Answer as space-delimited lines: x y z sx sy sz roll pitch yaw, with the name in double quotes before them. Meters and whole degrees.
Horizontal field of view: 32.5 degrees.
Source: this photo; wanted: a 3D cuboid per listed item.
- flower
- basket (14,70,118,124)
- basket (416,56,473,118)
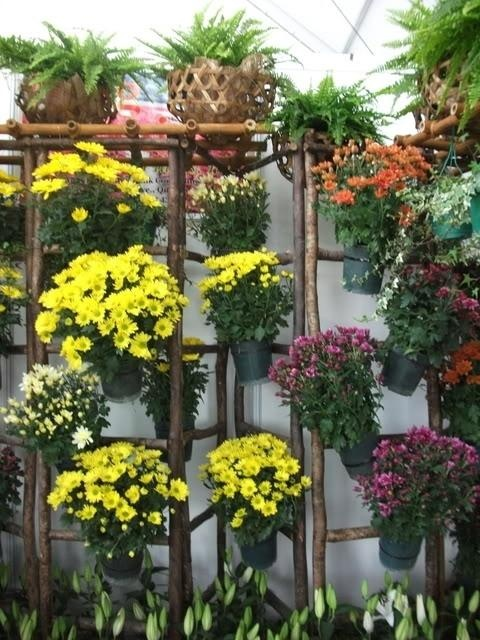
"flower" 0.060 0.323 2.680 1.458 0.327 1.570 2 40 -8
"basket" -0.583 -0.704 2.685 0.222 0.122 0.189 3 12 20
"basket" 0.590 -0.659 2.373 0.120 0.101 0.135 -38 44 -2
